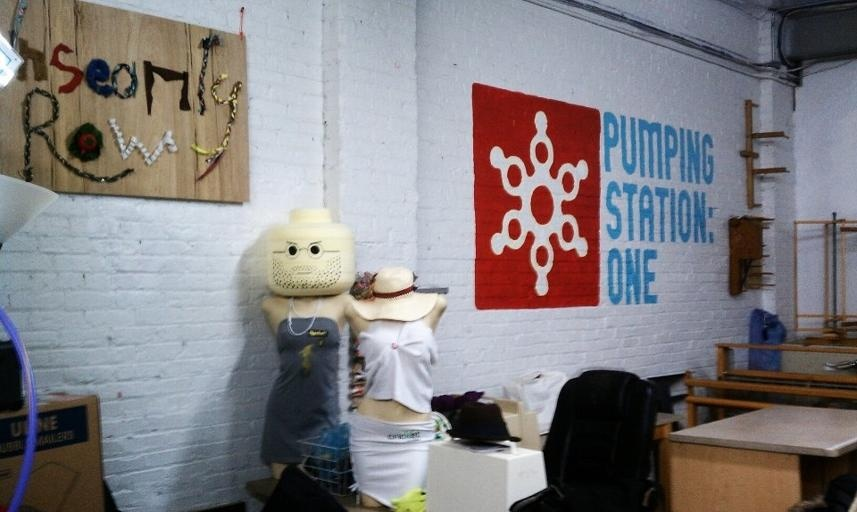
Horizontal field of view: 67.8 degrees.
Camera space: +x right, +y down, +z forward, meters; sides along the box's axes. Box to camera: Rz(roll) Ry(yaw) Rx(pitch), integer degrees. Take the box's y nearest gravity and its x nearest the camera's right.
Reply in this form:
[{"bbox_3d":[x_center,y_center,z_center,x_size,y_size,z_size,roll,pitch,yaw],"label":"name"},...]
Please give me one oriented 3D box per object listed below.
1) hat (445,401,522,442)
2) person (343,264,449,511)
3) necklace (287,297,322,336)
[{"bbox_3d":[0.274,0.888,3.412,0.292,0.108,0.219,2,-4,-5],"label":"hat"},{"bbox_3d":[-0.203,0.826,4.130,0.668,1.357,0.438,1,0,-7],"label":"person"},{"bbox_3d":[-0.819,0.411,4.228,0.180,0.245,0.044,0,-14,6],"label":"necklace"}]
